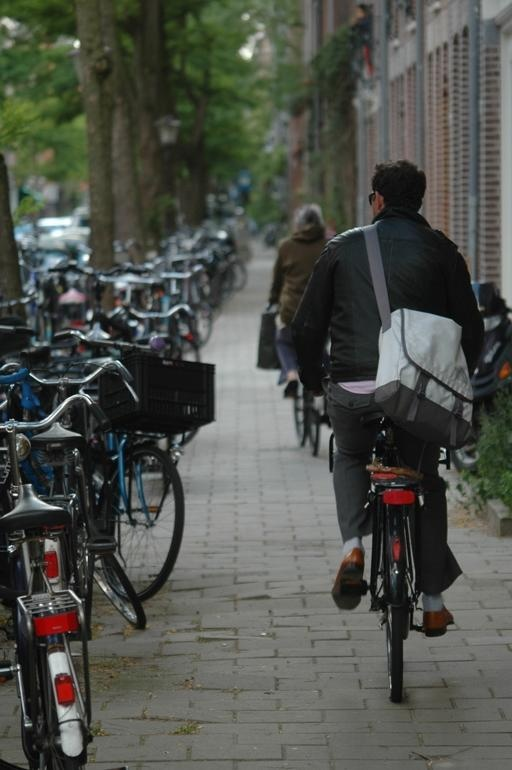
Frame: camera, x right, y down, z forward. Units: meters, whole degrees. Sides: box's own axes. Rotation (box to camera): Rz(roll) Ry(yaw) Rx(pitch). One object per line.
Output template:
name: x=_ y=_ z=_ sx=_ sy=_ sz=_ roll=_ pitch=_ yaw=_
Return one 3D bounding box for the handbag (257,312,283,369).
handbag: x=0.110 y=-0.319 z=9.003 sx=0.177 sy=0.505 sz=0.385 roll=1 pitch=4 yaw=3

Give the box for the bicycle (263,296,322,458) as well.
bicycle: x=0.279 y=0.052 z=8.855 sx=0.462 sy=0.614 sz=1.002 roll=-5 pitch=38 yaw=-8

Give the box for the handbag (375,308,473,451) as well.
handbag: x=0.499 y=-0.011 z=3.681 sx=0.277 sy=0.428 sz=0.251 roll=0 pitch=6 yaw=10

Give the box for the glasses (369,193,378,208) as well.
glasses: x=0.393 y=-0.626 z=4.143 sx=0.013 sy=0.039 sz=0.032 roll=5 pitch=14 yaw=15

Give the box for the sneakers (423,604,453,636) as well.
sneakers: x=0.580 y=0.756 z=3.951 sx=0.051 sy=0.064 sz=0.147 roll=-1 pitch=6 yaw=20

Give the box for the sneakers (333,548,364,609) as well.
sneakers: x=0.296 y=0.623 z=3.925 sx=0.074 sy=0.210 sz=0.090 roll=5 pitch=45 yaw=-2

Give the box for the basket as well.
basket: x=-0.277 y=0.022 z=4.748 sx=0.408 sy=0.214 sz=0.426 roll=4 pitch=-3 yaw=36

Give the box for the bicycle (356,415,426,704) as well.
bicycle: x=0.435 y=0.547 z=3.887 sx=0.168 sy=0.865 sz=0.470 roll=-1 pitch=6 yaw=5
